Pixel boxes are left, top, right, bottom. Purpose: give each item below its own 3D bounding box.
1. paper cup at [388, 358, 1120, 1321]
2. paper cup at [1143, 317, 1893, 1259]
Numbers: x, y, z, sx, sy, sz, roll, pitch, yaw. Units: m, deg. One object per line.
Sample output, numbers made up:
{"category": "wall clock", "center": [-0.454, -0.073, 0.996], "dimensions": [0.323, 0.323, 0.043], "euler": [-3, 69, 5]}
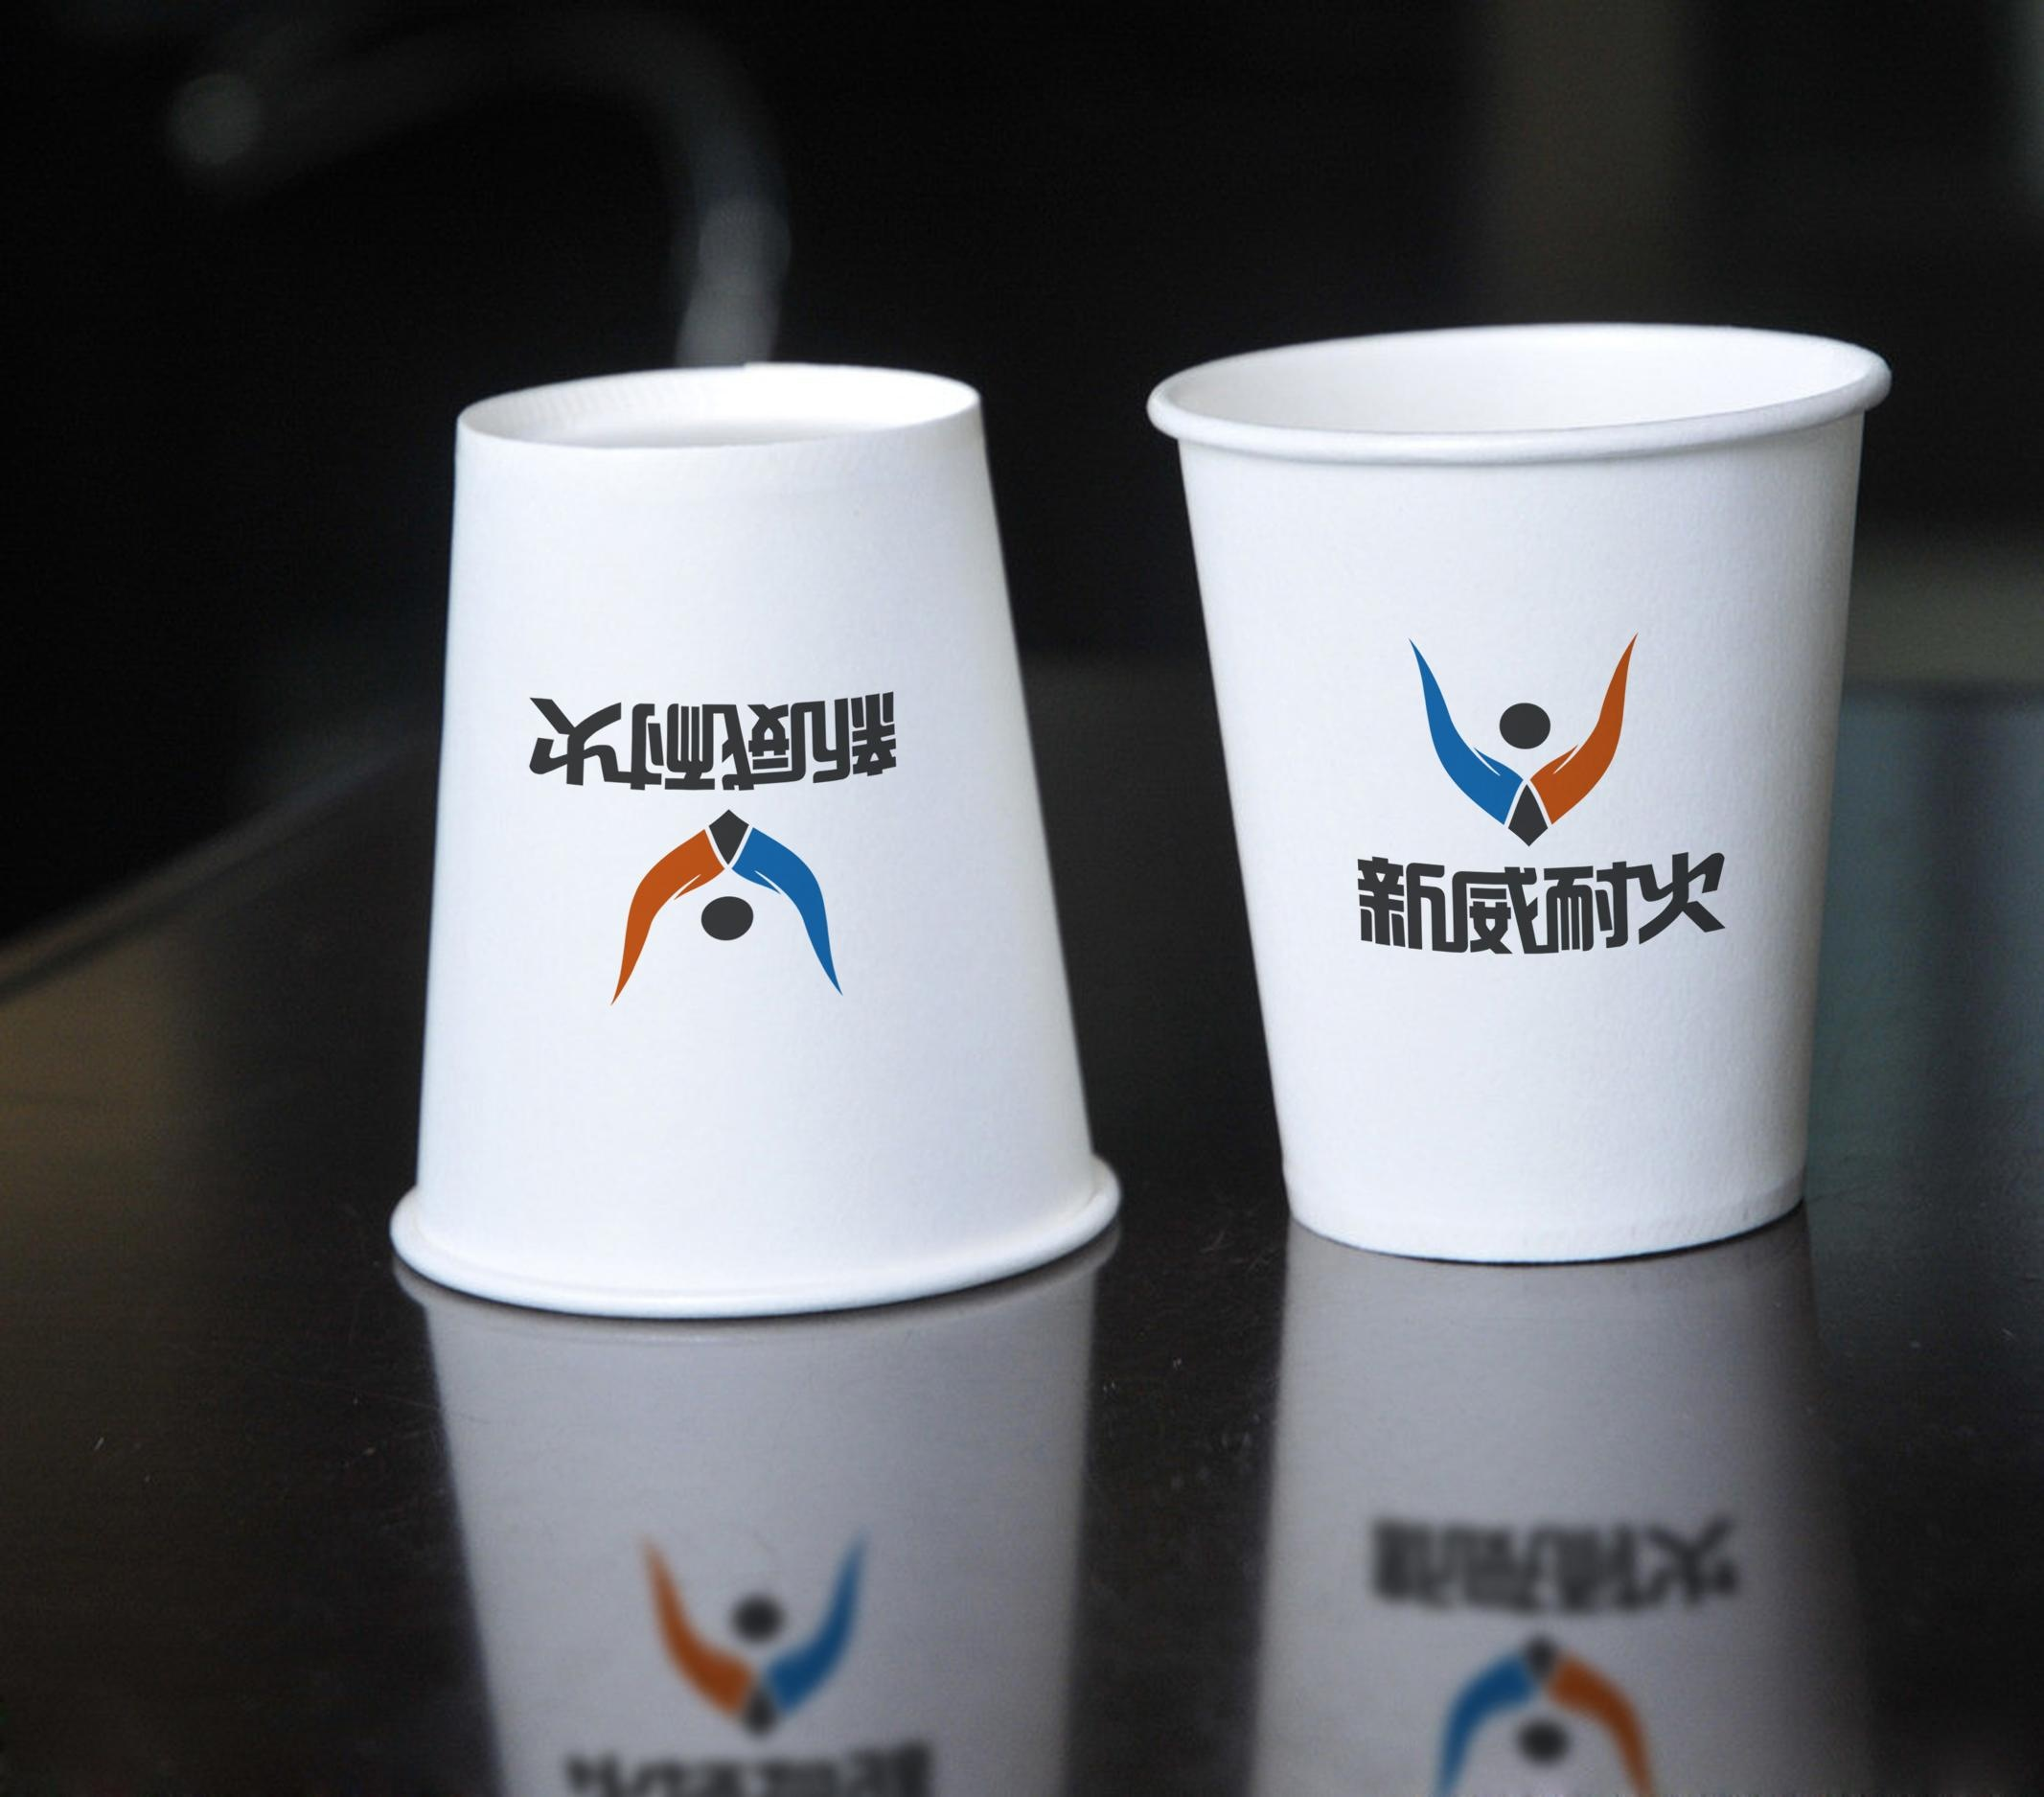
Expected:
{"category": "paper cup", "center": [-0.065, -0.018, 0.512], "dimensions": [0.146, 0.193, 0.118], "euler": [7, 15, 33]}
{"category": "paper cup", "center": [0.105, -0.035, 0.586], "dimensions": [0.175, 0.214, 0.187], "euler": [-3, 15, 1]}
